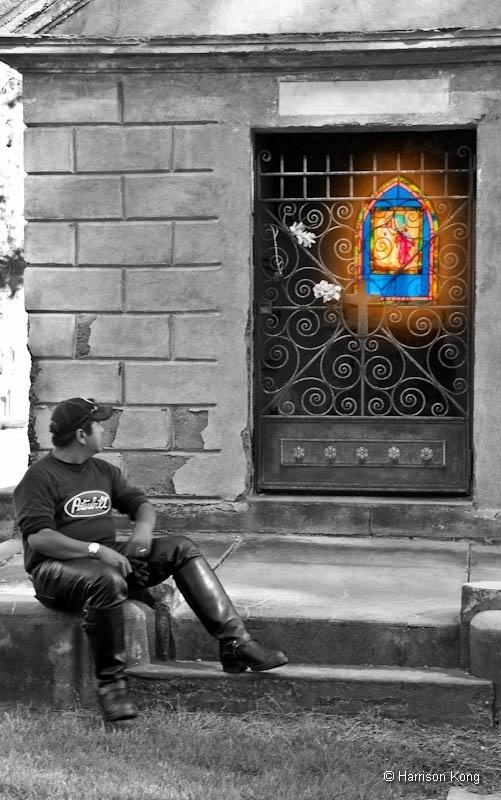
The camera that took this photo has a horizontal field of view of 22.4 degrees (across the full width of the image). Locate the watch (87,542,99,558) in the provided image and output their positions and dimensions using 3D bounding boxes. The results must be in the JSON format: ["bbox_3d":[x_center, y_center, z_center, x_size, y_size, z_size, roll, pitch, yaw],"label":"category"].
[{"bbox_3d":[-0.701,0.675,5.700,0.051,0.054,0.050,2,-39,-1],"label":"watch"}]

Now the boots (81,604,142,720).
[{"bbox_3d":[-0.620,1.168,5.617,0.219,0.510,0.144,-1,0,-7],"label":"boots"}]

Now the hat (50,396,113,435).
[{"bbox_3d":[-0.789,0.087,5.943,0.265,0.121,0.160,-16,19,-20],"label":"hat"}]

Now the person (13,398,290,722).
[{"bbox_3d":[-0.542,0.706,5.796,0.824,1.448,0.718,-1,0,37],"label":"person"}]
